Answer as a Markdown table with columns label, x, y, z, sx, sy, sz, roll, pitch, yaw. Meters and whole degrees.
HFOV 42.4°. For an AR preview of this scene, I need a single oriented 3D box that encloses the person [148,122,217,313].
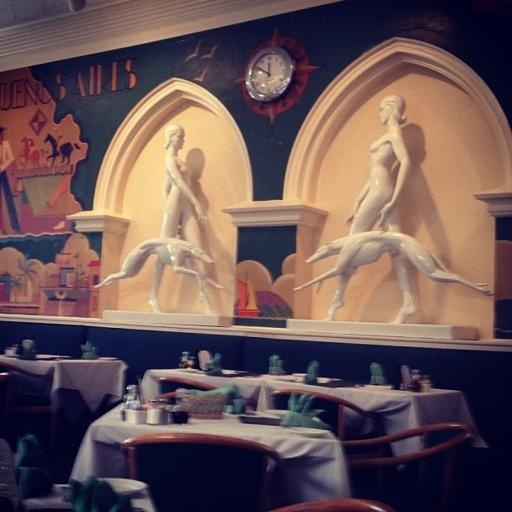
| label | x | y | z | sx | sy | sz | roll | pitch | yaw |
| --- | --- | --- | --- | --- | --- | --- | --- | --- | --- |
| person | -0.568 | -0.317 | 5.553 | 0.585 | 1.659 | 0.638 | 2 | -12 | 5 |

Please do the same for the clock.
| label | x | y | z | sx | sy | sz | roll | pitch | yaw |
| --- | --- | --- | --- | --- | --- | --- | --- | --- | --- |
| clock | 0.135 | -1.446 | 5.285 | 0.515 | 0.492 | 0.068 | -3 | -8 | 33 |

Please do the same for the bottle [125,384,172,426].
| label | x | y | z | sx | sy | sz | roll | pitch | yaw |
| --- | --- | --- | --- | --- | --- | --- | --- | --- | --- |
| bottle | -0.440 | 0.603 | 2.646 | 0.176 | 0.115 | 0.116 | 3 | -5 | 25 |
